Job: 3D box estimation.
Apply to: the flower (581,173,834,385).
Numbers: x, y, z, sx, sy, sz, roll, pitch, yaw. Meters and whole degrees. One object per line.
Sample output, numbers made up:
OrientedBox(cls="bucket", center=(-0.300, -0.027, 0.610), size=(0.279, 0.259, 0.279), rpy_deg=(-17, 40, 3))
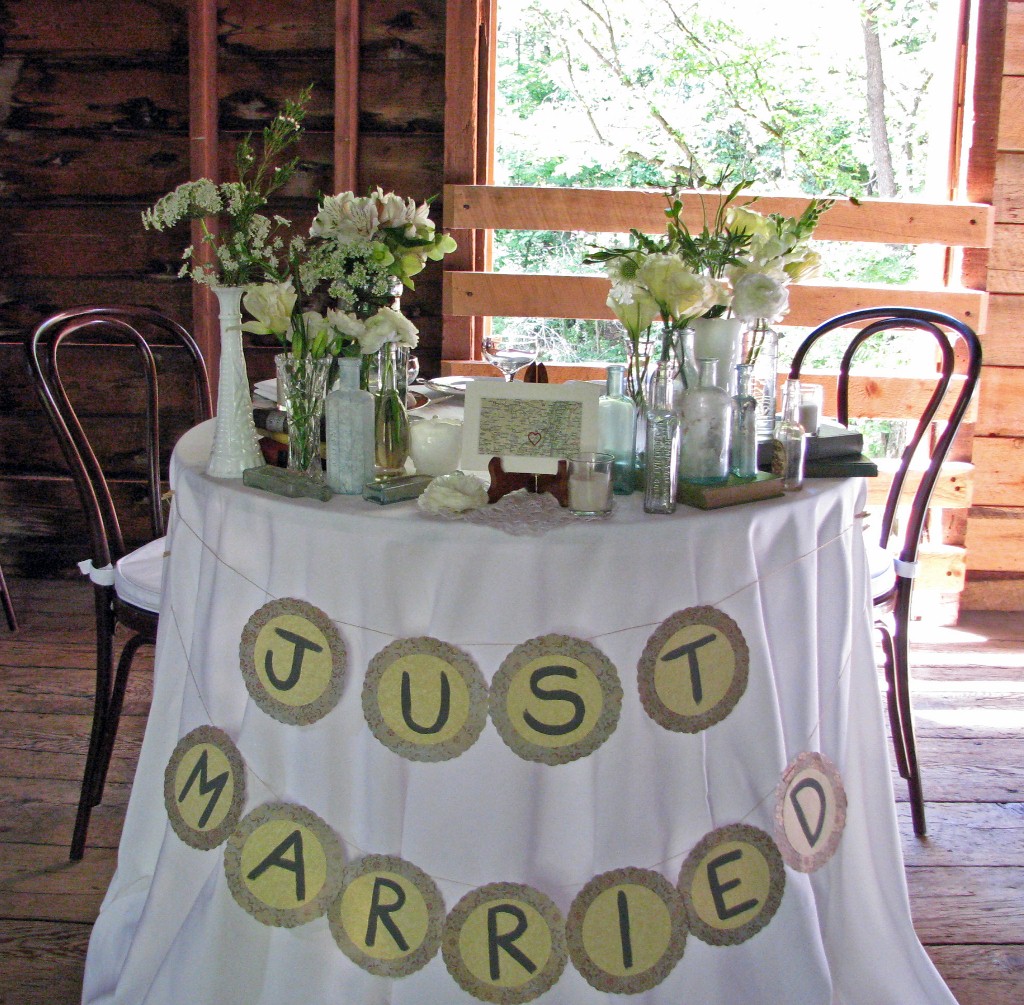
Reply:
OrientedBox(cls="flower", center=(0.299, -0.290, 1.633), size=(0.339, 0.342, 0.261), rpy_deg=(8, 7, 36))

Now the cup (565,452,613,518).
OrientedBox(cls="cup", center=(0.102, -0.025, 1.454), size=(0.075, 0.083, 0.074), rpy_deg=(0, 5, 0))

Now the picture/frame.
OrientedBox(cls="picture/frame", center=(0.028, -0.107, 1.511), size=(0.138, 0.098, 0.003), rpy_deg=(2, -4, 8))
